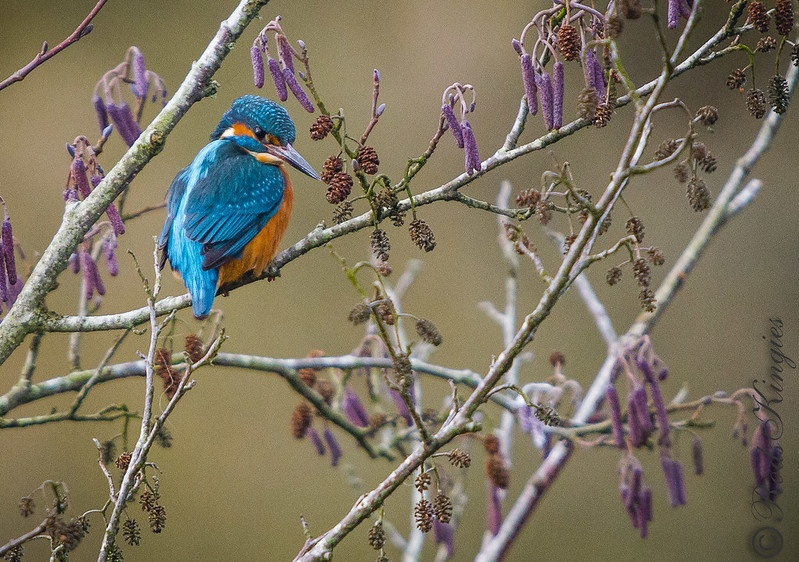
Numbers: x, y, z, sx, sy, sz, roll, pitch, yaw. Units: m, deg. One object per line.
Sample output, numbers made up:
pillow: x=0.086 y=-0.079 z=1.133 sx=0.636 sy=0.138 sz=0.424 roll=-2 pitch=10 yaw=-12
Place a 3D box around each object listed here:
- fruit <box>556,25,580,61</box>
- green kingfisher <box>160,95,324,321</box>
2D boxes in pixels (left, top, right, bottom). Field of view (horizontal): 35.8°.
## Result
fruit: x=0.519 y=-0.757 z=3.768 sx=0.057 sy=0.051 sz=0.143 roll=-14 pitch=-70 yaw=-40
green kingfisher: x=-0.620 y=-0.296 z=4.489 sx=0.340 sy=0.727 sz=0.750 roll=-10 pitch=-91 yaw=44
